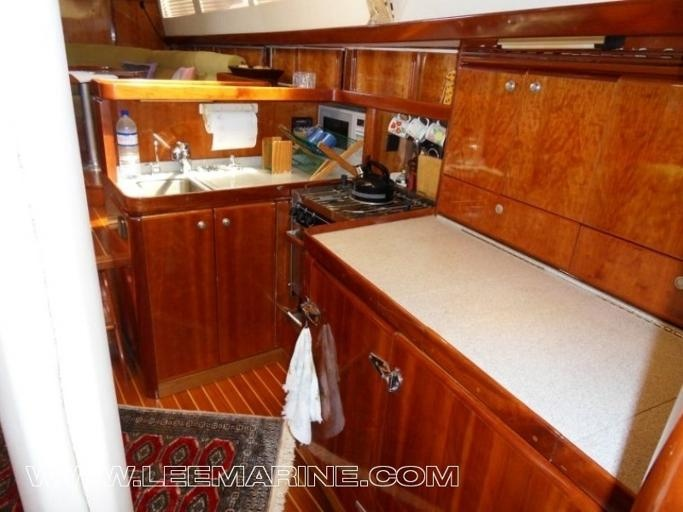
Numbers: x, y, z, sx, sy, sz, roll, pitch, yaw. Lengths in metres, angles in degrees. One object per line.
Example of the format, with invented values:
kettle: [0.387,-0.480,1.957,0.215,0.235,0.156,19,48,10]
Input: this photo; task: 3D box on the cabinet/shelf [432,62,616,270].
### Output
cabinet/shelf: [0.702,-0.370,1.754,0.231,0.632,0.688,-9,26,-28]

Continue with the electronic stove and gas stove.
electronic stove and gas stove: [0.097,-0.276,2.299,0.546,0.078,0.599,-14,25,-29]

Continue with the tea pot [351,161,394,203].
tea pot: [0.157,-0.377,2.271,0.221,0.195,0.225,1,26,0]

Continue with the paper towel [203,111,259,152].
paper towel: [-0.594,-0.689,2.537,0.251,0.211,0.057,-9,36,-29]

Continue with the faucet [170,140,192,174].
faucet: [-0.880,-0.538,2.507,0.065,0.212,0.145,35,36,29]
